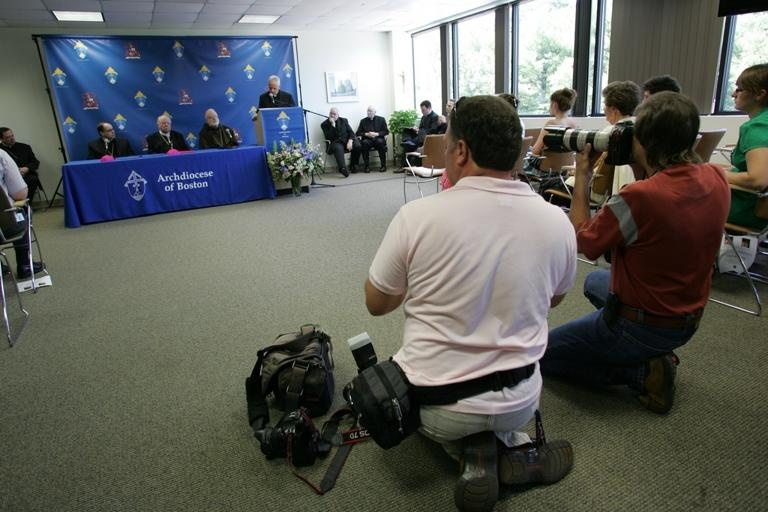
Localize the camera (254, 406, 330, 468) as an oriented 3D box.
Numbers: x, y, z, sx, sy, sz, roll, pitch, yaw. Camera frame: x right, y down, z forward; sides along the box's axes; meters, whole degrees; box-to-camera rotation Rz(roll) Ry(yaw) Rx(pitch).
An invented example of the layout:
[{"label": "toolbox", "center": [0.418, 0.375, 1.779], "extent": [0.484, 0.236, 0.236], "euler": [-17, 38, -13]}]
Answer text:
[{"label": "camera", "center": [-0.534, 1.045, 3.140], "extent": [0.371, 0.285, 0.191], "euler": [-12, 51, 24]}]

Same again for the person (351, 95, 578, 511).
[{"label": "person", "center": [0.416, 0.284, 2.773], "extent": [1.182, 2.049, 0.593], "euler": [-16, 20, -21]}]

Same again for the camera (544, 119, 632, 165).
[{"label": "camera", "center": [1.231, -0.692, 3.306], "extent": [0.472, 0.245, 0.276], "euler": [11, 18, 35]}]

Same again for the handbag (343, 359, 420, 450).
[{"label": "handbag", "center": [0.002, 0.782, 2.971], "extent": [0.313, 0.439, 0.443], "euler": [-23, -4, -28]}]

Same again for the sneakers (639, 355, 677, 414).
[{"label": "sneakers", "center": [1.603, 0.761, 3.244], "extent": [0.143, 0.463, 0.189], "euler": [3, 5, 2]}]

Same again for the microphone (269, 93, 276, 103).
[{"label": "microphone", "center": [-1.792, -2.541, 8.735], "extent": [0.105, 0.058, 0.153], "euler": [1, 0, -9]}]

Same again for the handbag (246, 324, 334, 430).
[{"label": "handbag", "center": [-0.509, 0.702, 3.299], "extent": [0.575, 0.289, 0.446], "euler": [-16, 50, 34]}]

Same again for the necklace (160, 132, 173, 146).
[{"label": "necklace", "center": [-3.391, -1.831, 8.487], "extent": [0.196, 0.048, 0.145], "euler": [46, 41, 14]}]

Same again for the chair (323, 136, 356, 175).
[{"label": "chair", "center": [-0.816, -1.927, 10.566], "extent": [0.542, 1.056, 0.757], "euler": [-3, 5, -21]}]

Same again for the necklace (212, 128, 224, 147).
[{"label": "necklace", "center": [-2.618, -1.865, 8.617], "extent": [0.174, 0.334, 0.079], "euler": [0, -2, -11]}]

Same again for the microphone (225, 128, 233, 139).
[{"label": "microphone", "center": [-2.486, -1.952, 8.741], "extent": [0.141, 0.051, 0.203], "euler": [-14, 62, -39]}]
